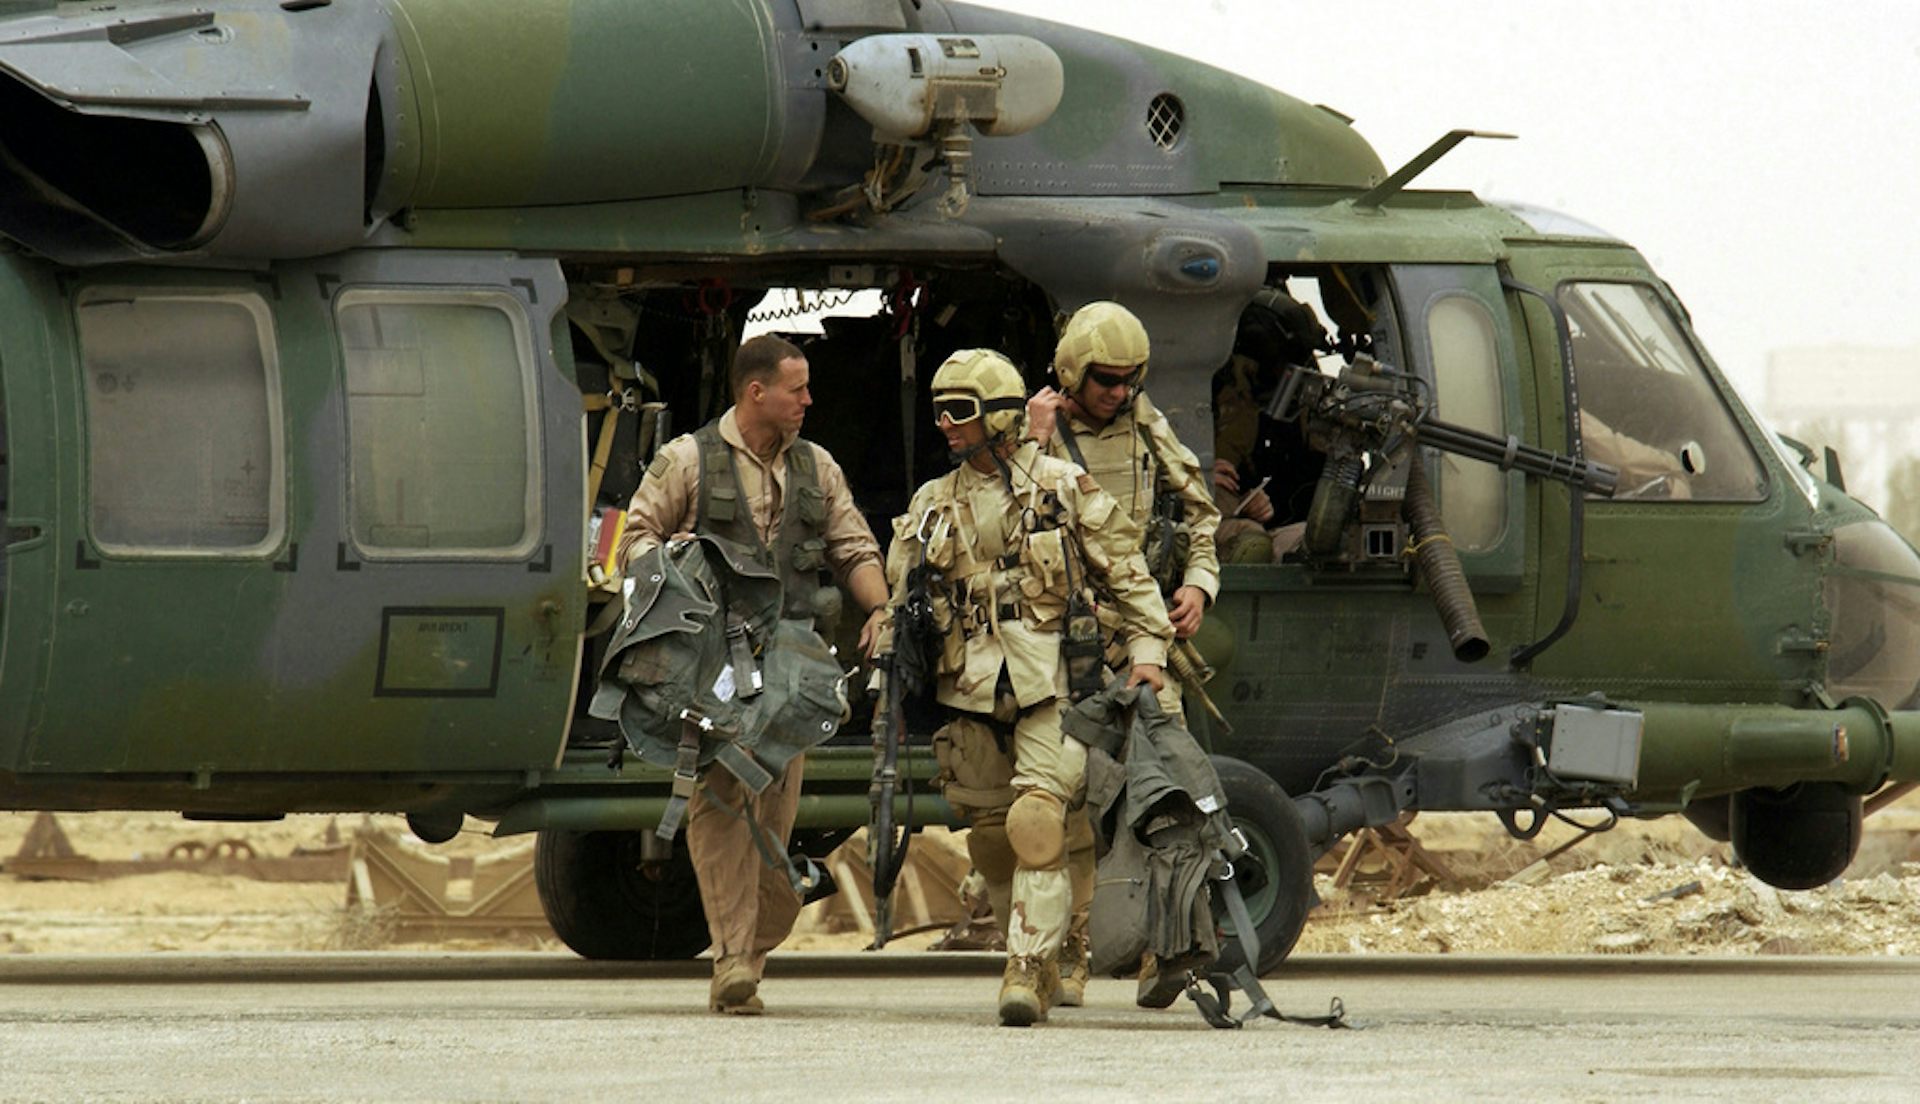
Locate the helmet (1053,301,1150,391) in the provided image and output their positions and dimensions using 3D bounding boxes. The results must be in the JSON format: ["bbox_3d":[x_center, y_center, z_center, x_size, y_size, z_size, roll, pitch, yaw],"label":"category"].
[{"bbox_3d":[0.696,-1.036,13.255,0.405,0.365,0.454,1,13,-26],"label":"helmet"}]

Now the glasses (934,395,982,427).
[{"bbox_3d":[-0.010,-0.674,12.617,0.256,0.140,0.088,-1,-3,26],"label":"glasses"}]

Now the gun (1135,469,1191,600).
[{"bbox_3d":[1.034,-0.094,13.298,0.226,0.630,0.276,3,-17,1],"label":"gun"}]

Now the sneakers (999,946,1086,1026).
[{"bbox_3d":[0.389,2.038,12.646,0.225,0.265,0.635,1,-7,9],"label":"sneakers"}]

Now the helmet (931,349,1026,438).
[{"bbox_3d":[0.069,-0.765,12.745,0.463,0.361,0.352,7,-10,-26],"label":"helmet"}]

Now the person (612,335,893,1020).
[{"bbox_3d":[-0.971,0.559,12.707,1.269,3.190,0.530,0,-3,-7],"label":"person"}]

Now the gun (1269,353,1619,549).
[{"bbox_3d":[2.716,-0.613,14.543,1.935,0.591,0.288,13,-12,-8],"label":"gun"}]
